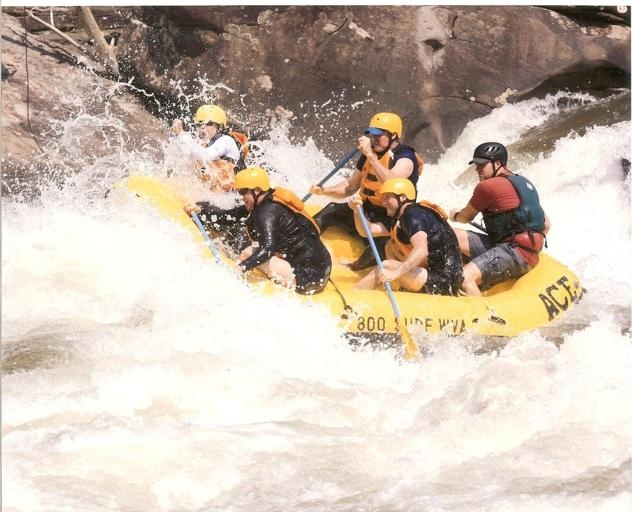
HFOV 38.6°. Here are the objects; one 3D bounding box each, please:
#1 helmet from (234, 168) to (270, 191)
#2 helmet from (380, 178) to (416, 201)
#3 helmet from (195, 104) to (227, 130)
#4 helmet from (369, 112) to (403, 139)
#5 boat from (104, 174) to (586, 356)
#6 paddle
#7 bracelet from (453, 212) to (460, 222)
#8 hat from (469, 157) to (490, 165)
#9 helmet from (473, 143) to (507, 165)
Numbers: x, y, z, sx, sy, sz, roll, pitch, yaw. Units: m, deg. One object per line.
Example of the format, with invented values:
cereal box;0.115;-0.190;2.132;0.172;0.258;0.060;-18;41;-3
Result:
helmet;-0.642;-0.769;9.054;0.326;0.154;0.222;3;18;-17
helmet;0.856;-0.707;9.315;0.310;0.149;0.234;-7;13;-9
helmet;-1.169;-1.585;10.317;0.362;0.255;0.264;21;-9;-22
helmet;0.806;-1.448;9.958;0.375;0.199;0.264;-4;25;-20
boat;0.387;0.231;9.087;4.310;0.819;2.016;16;30;-15
paddle;0.720;0.276;9.189;0.209;1.797;0.144;-23;-20;-1
bracelet;1.512;-0.426;9.729;0.025;0.084;0.090;29;-28;-30
hat;1.737;-1.025;9.624;0.173;0.080;0.113;4;1;-20
helmet;1.873;-1.097;9.679;0.337;0.154;0.222;2;-1;-9
